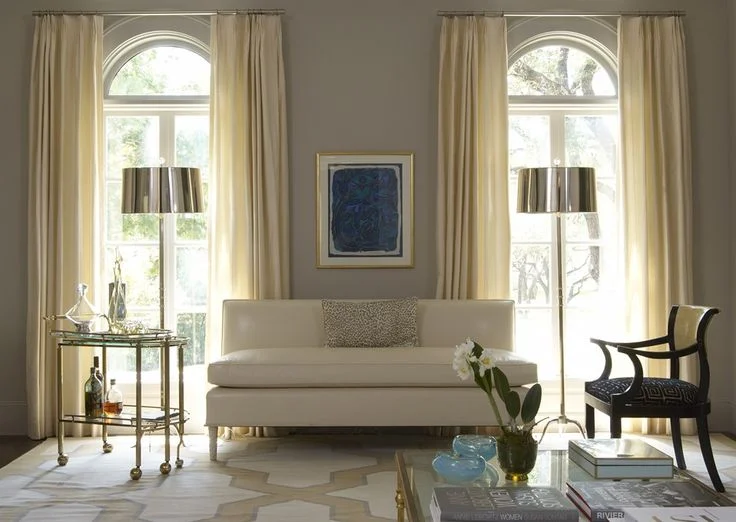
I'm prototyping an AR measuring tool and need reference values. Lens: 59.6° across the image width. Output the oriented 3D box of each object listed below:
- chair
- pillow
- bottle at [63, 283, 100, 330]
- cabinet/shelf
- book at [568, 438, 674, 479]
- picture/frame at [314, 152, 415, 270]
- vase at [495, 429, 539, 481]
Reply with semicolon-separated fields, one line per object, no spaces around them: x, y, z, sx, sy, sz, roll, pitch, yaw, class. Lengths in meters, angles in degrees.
2.207;0.989;5.089;1.119;1.751;1.188;2;-3;1;chair
0.007;0.513;5.318;0.772;0.462;0.180;-1;16;-2;pillow
-2.293;0.386;5.133;0.276;0.373;0.278;-4;-3;0;bottle
-1.841;1.078;5.009;0.843;1.085;0.913;-1;1;-6;cabinet/shelf
1.301;1.027;3.334;0.470;0.128;0.235;0;5;4;book
-0.045;-0.467;5.667;0.978;1.147;0.058;0;2;1;picture/frame
0.780;1.027;3.375;0.213;0.225;0.235;-6;-8;43;vase
